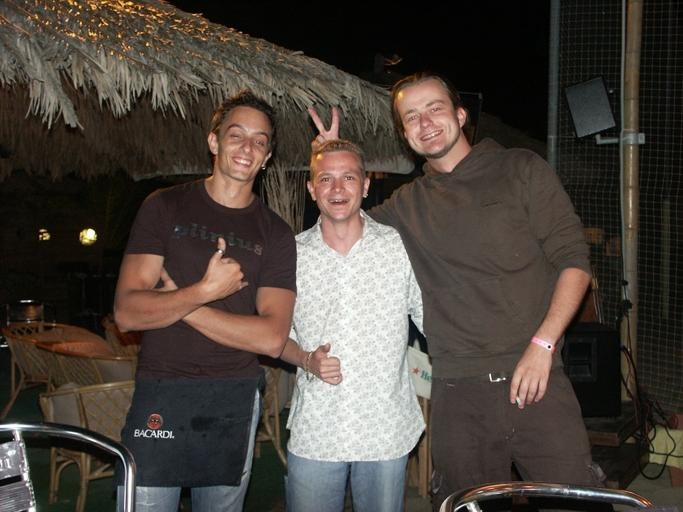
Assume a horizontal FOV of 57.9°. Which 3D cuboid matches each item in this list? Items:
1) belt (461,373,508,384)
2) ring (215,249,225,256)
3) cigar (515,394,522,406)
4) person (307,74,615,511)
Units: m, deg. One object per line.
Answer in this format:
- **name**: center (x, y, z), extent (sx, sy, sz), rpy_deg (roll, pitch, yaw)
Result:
- **belt**: center (0.833, 0.693, 3.514), extent (0.226, 0.050, 0.022), rpy_deg (-2, 0, 13)
- **ring**: center (-0.653, -0.021, 3.327), extent (0.053, 0.035, 0.055), rpy_deg (5, -10, 1)
- **cigar**: center (0.982, 0.808, 3.429), extent (0.022, 0.081, 0.030), rpy_deg (2, -22, -42)
- **person**: center (0.855, 0.180, 3.603), extent (1.124, 2.083, 0.369), rpy_deg (-2, 1, 34)
